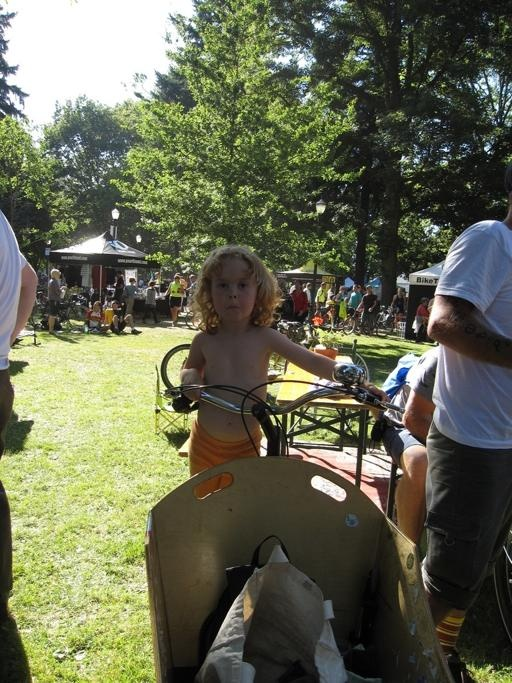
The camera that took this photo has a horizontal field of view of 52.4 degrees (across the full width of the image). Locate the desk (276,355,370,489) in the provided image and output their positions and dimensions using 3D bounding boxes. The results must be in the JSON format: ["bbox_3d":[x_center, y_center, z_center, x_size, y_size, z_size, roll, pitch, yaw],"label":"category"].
[{"bbox_3d":[0.619,0.712,4.649,0.912,0.864,1.678,3,10,5],"label":"desk"}]
